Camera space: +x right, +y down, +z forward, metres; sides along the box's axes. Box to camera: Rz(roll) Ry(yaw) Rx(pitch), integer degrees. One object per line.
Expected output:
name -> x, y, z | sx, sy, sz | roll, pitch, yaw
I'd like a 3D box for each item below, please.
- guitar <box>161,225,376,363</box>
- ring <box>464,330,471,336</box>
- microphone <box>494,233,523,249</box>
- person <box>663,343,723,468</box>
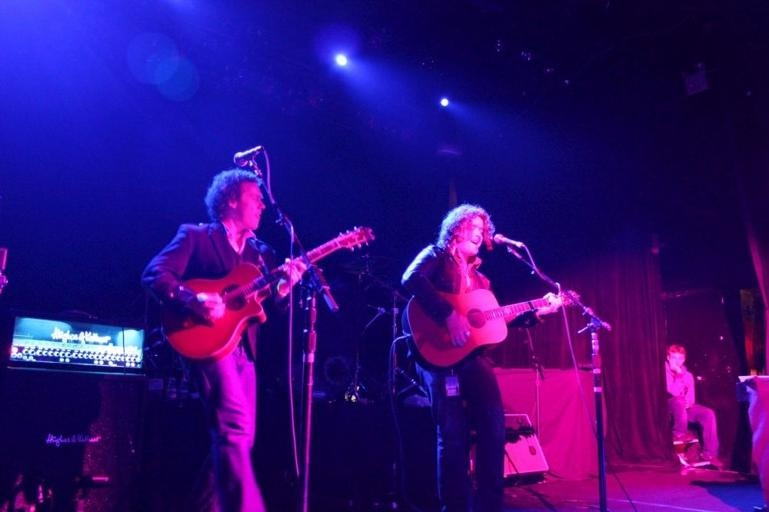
guitar -> -1.324, 0.382, 7.353 | 2.272, 0.928, 0.326 | -32, -6, -29
ring -> 0.942, 0.871, 7.572 | 0.057, 0.059, 0.035 | 40, 2, 38
microphone -> 1.730, -0.206, 9.307 | 0.455, 0.157, 0.129 | 21, -46, -24
person -> 5.008, 2.392, 10.958 | 0.650, 2.029, 0.914 | -10, -19, 25
